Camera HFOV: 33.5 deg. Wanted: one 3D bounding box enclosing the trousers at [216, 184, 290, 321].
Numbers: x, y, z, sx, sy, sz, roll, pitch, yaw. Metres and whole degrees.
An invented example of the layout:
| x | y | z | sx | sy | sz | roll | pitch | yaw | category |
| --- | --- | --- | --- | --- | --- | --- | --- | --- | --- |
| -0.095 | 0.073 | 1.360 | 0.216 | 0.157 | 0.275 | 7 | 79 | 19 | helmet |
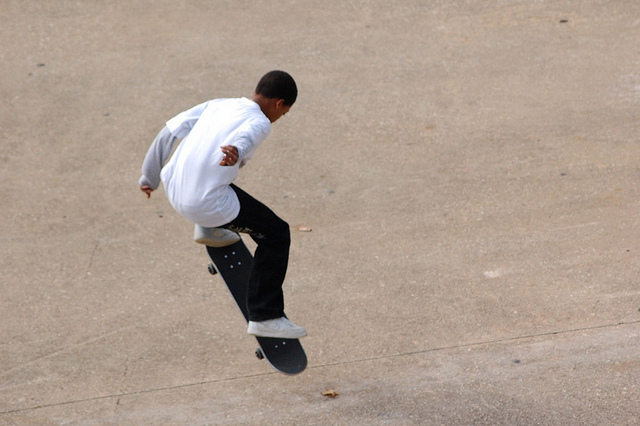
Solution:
| x | y | z | sx | sy | sz | roll | pitch | yaw | category |
| --- | --- | --- | --- | --- | --- | --- | --- | --- | --- |
| -0.762 | 0.522 | 11.924 | 0.449 | 0.637 | 1.546 | -34 | 89 | -10 | trousers |
